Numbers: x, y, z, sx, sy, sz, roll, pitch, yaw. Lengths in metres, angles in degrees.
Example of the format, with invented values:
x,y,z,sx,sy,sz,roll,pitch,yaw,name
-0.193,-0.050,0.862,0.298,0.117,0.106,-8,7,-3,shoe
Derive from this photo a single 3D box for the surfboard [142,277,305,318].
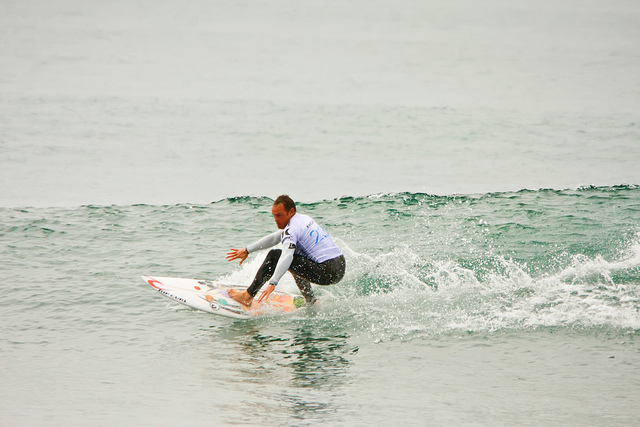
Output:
x,y,z,sx,sy,sz,roll,pitch,yaw,name
-3.346,3.000,42.757,6.706,0.534,1.552,6,31,10,surfboard
